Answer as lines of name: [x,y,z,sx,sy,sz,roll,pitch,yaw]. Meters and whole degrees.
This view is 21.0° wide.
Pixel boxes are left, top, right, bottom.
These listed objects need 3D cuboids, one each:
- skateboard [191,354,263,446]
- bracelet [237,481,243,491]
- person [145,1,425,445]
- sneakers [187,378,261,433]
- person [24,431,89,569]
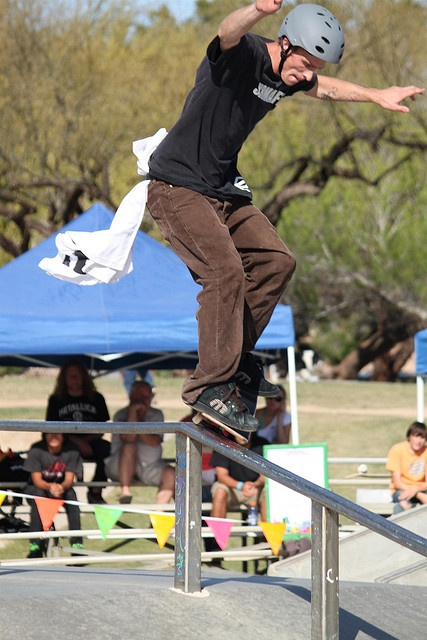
skateboard: [0.082,0.452,6.229,0.487,0.276,0.154,18,7,35]
bracelet: [0.214,1.380,9.312,0.050,0.074,0.033,0,4,1]
person: [0.178,-0.541,6.369,1.082,2.415,0.869,0,4,-6]
sneakers: [0.061,0.478,6.211,0.331,0.264,0.174,-1,4,-17]
person: [-1.243,1.392,8.908,0.444,0.995,0.850,0,4,-7]
